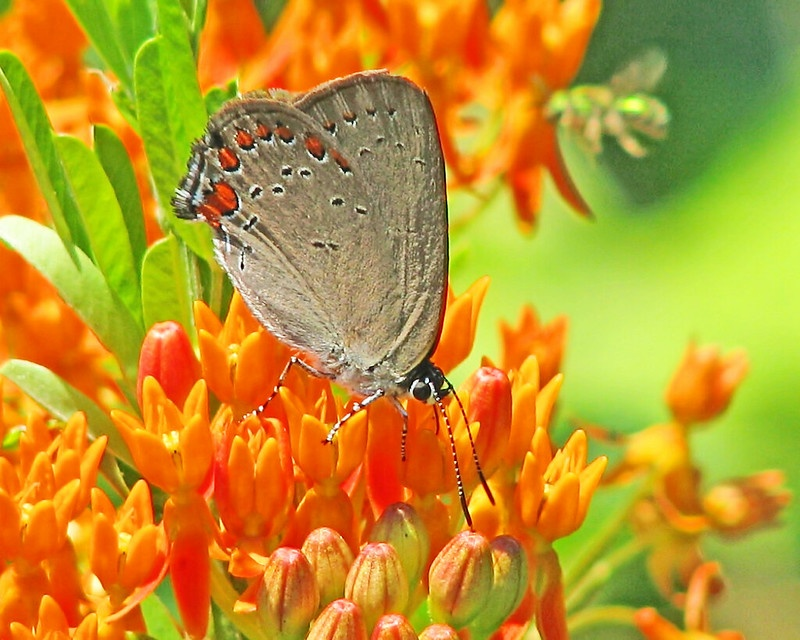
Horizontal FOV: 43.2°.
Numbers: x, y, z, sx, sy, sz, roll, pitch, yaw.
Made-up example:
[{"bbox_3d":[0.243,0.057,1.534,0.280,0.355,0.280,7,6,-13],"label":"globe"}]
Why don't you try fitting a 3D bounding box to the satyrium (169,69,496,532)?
[{"bbox_3d":[-0.055,-0.075,0.975,0.308,0.279,0.358,25,0,2],"label":"satyrium"}]
